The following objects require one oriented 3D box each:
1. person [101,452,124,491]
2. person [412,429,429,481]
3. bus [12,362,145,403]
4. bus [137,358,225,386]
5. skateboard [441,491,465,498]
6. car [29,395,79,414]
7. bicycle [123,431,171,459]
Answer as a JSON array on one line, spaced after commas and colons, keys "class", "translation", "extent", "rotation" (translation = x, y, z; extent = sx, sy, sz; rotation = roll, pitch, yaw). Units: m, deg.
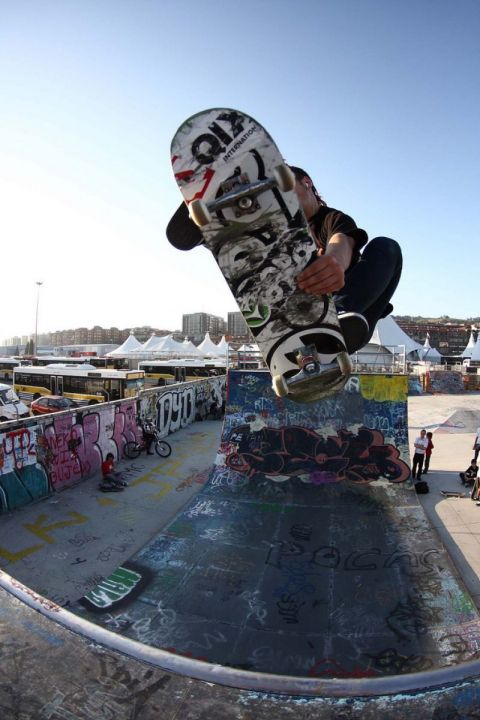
[{"class": "person", "translation": [-3.459, 2.911, 11.707], "extent": [0.576, 0.862, 1.057], "rotation": [-4, 6, -15]}, {"class": "person", "translation": [4.909, 2.551, 12.034], "extent": [0.375, 1.362, 0.977], "rotation": [0, 7, 22]}, {"class": "bus", "translation": [-9.216, 1.321, 24.321], "extent": [8.227, 1.925, 2.583], "rotation": [1, 7, 32]}, {"class": "bus", "translation": [-3.910, 0.676, 29.953], "extent": [6.871, 1.729, 2.108], "rotation": [0, 3, 16]}, {"class": "skateboard", "translation": [5.174, 3.245, 10.667], "extent": [0.575, 0.051, 0.334], "rotation": [-1, 6, 9]}, {"class": "car", "translation": [-8.215, 1.982, 18.934], "extent": [1.014, 0.783, 2.318], "rotation": [-7, 8, -40]}, {"class": "bicycle", "translation": [-3.145, 2.819, 14.801], "extent": [1.536, 0.792, 0.691], "rotation": [4, 4, -2]}]
